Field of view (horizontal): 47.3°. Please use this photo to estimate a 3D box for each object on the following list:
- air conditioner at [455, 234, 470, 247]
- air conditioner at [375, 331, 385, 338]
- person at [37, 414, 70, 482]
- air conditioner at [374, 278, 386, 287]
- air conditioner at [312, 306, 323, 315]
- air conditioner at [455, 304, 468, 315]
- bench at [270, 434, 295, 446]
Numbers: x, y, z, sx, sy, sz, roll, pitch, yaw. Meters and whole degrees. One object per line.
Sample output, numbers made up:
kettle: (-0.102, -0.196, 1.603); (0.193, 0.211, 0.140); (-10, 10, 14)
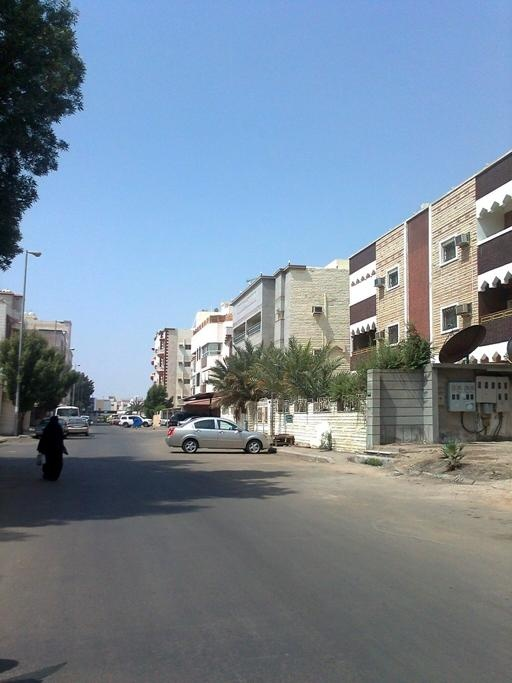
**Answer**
air conditioner: (8.597, -4.058, 24.286); (0.393, 0.593, 0.781); (1, -3, -3)
air conditioner: (6.672, -0.376, 31.249); (0.315, 0.423, 0.594); (0, -3, -11)
person: (-5.208, 2.660, 14.835); (0.664, 1.553, 1.794); (3, -7, -18)
air conditioner: (6.731, -3.079, 31.543); (0.378, 0.499, 0.700); (4, -8, -18)
air conditioner: (4.881, -2.522, 46.268); (0.801, 0.695, 0.703); (1, -7, 3)
air conditioner: (8.535, -1.351, 24.028); (0.412, 0.393, 0.658); (2, -7, -10)
bench: (1.502, 5.182, 30.847); (1.325, 0.524, 0.910); (3, -7, -14)
